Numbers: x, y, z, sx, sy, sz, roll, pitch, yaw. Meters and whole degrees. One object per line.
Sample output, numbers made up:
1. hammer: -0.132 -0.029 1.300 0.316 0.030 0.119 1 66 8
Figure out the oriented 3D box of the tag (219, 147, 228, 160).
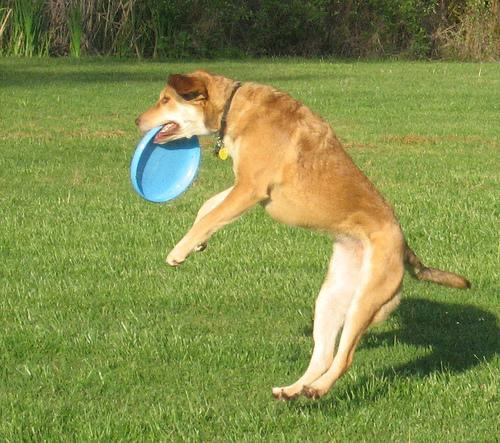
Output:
1. tag: -0.373 -0.941 13.621 0.133 0.149 0.031 -29 20 -38
